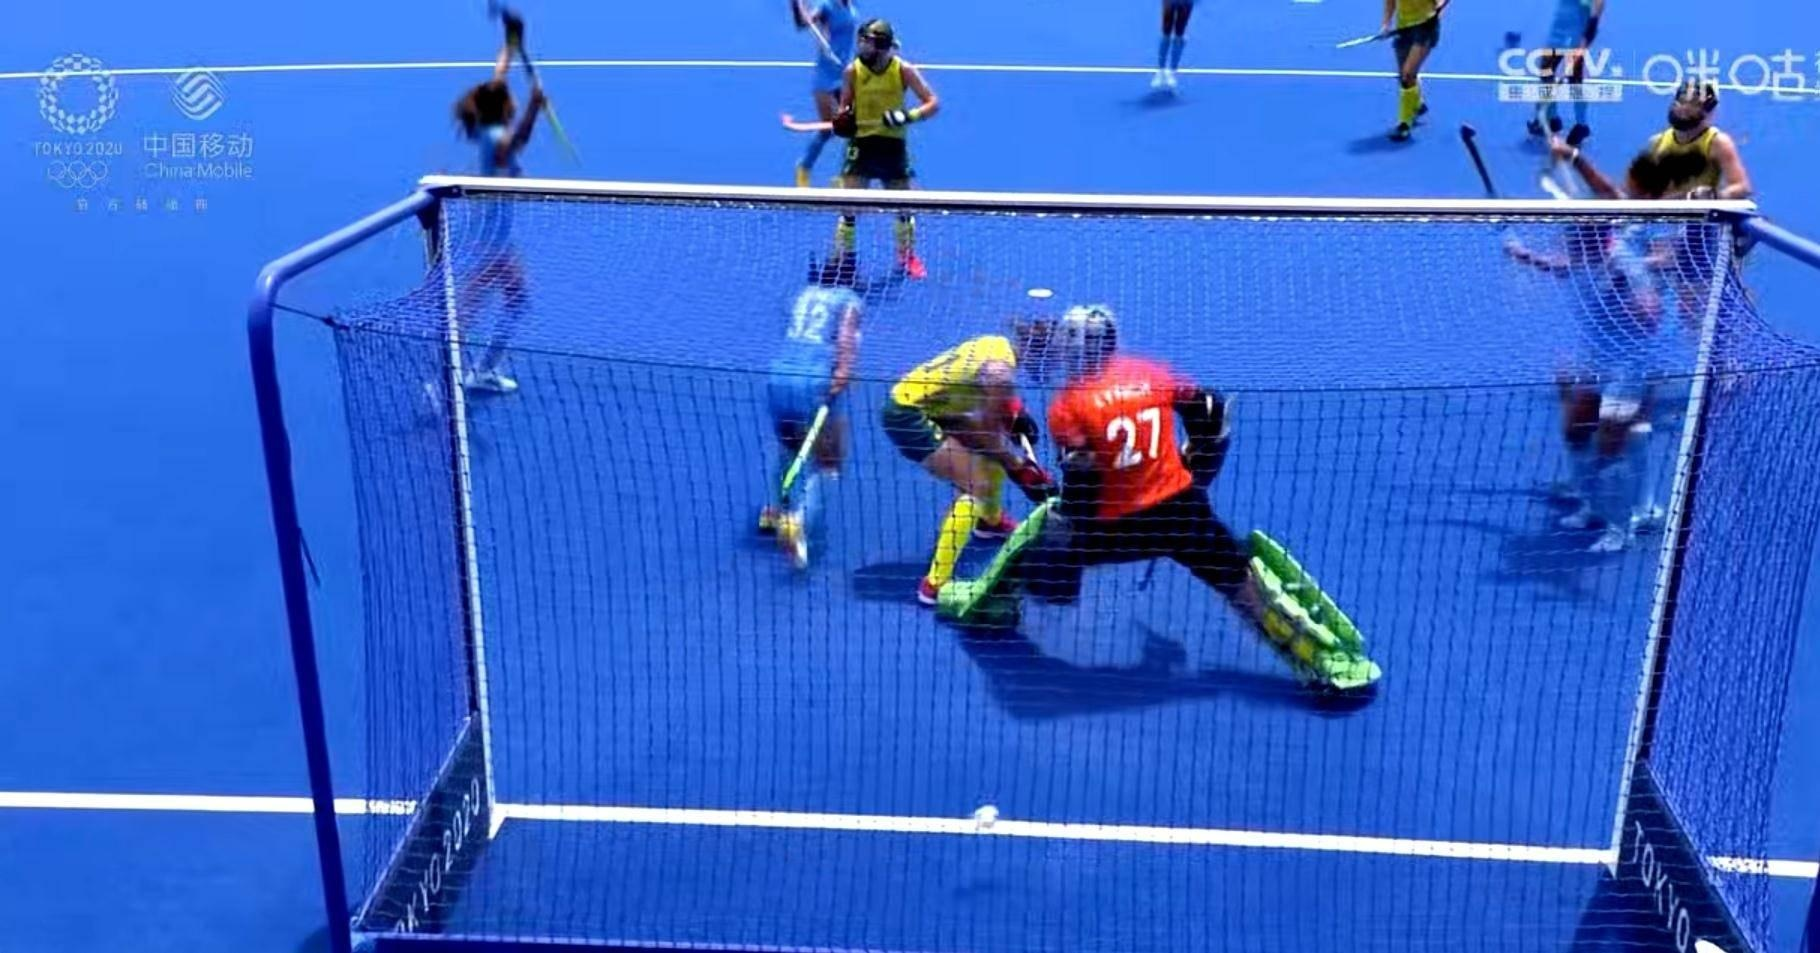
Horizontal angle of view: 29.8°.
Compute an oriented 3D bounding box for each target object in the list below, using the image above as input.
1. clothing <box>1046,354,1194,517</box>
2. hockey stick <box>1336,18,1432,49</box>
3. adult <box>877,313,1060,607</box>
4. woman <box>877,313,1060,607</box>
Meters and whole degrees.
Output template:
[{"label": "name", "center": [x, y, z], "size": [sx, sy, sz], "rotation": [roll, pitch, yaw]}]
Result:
[{"label": "clothing", "center": [1.820, -0.358, 29.161], "size": [1.149, 1.040, 0.632], "rotation": [-30, 14, -9]}, {"label": "hockey stick", "center": [4.917, -4.662, 35.905], "size": [0.804, 0.109, 0.147], "rotation": [-6, 46, 26]}, {"label": "adult", "center": [0.544, -0.053, 29.762], "size": [1.601, 2.256, 1.340], "rotation": [9, 49, 0]}, {"label": "woman", "center": [0.544, -0.053, 29.762], "size": [1.601, 2.256, 1.340], "rotation": [9, 49, 0]}]
